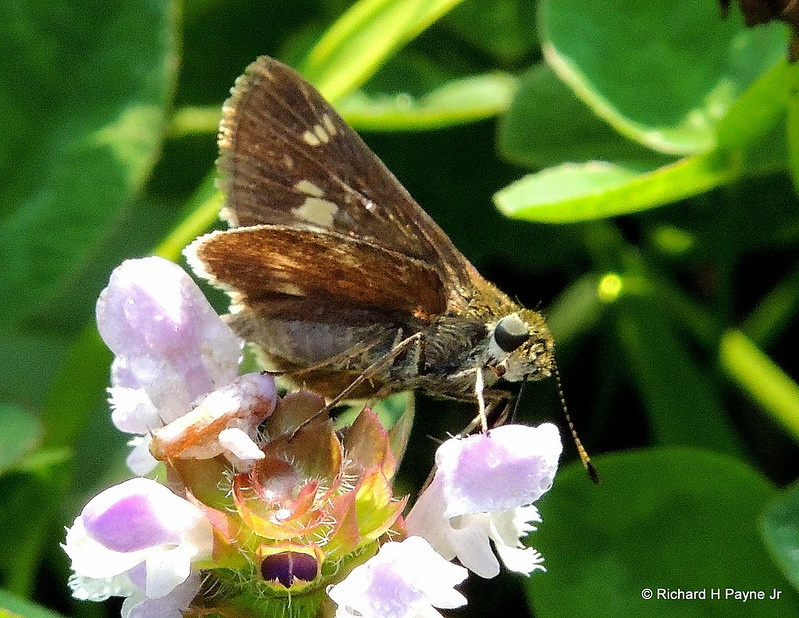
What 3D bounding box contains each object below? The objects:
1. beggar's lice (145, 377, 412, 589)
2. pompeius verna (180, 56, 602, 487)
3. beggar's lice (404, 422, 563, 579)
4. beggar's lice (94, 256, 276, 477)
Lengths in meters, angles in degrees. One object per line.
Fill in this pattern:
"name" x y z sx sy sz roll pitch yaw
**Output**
"beggar's lice" -0.157 0.208 1.303 0.270 0.133 0.268 27 44 29
"pompeius verna" -0.033 -0.031 1.687 0.685 0.538 0.518 16 70 -4
"beggar's lice" 0.104 0.226 1.375 0.195 0.260 0.137 0 14 -40
"beggar's lice" -0.295 0.039 1.408 0.255 0.323 0.187 -14 18 -37
